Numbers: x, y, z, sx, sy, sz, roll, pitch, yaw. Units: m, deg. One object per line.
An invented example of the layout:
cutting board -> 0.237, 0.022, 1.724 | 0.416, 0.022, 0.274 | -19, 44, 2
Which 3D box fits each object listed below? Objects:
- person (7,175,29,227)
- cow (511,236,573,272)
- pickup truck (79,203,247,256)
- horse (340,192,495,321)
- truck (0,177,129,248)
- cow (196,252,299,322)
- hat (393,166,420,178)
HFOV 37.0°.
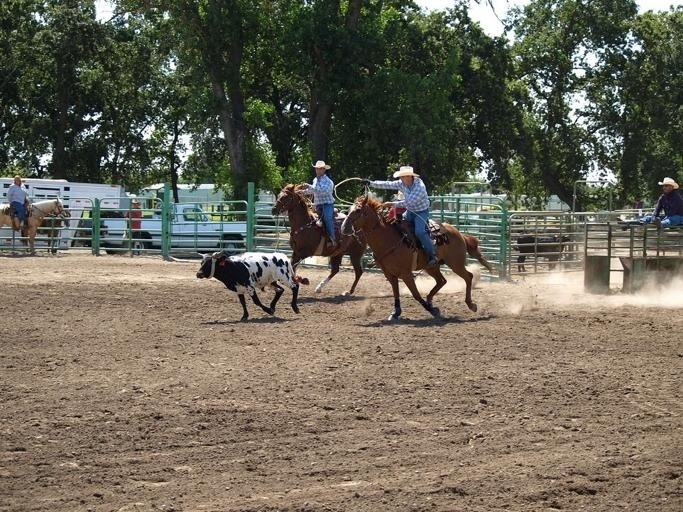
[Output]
person -> -10.349, -1.721, 32.706 | 0.636, 1.644, 0.563 | 0, 0, -18
cow -> 5.429, -0.105, 27.828 | 0.830, 0.997, 2.333 | 0, -1, 38
pickup truck -> -5.893, -0.865, 33.967 | 3.793, 1.259, 2.648 | -1, 3, -9
horse -> 1.589, 0.014, 21.679 | 3.824, 2.665, 0.930 | -2, -3, -35
truck -> -9.941, -2.179, 37.461 | 5.686, 2.818, 2.831 | 1, -2, -17
cow -> -1.898, 0.603, 21.333 | 2.209, 1.392, 0.460 | 0, -1, -30
hat -> 1.396, -1.769, 21.266 | 0.583, 0.232, 0.489 | 1, -1, -7
